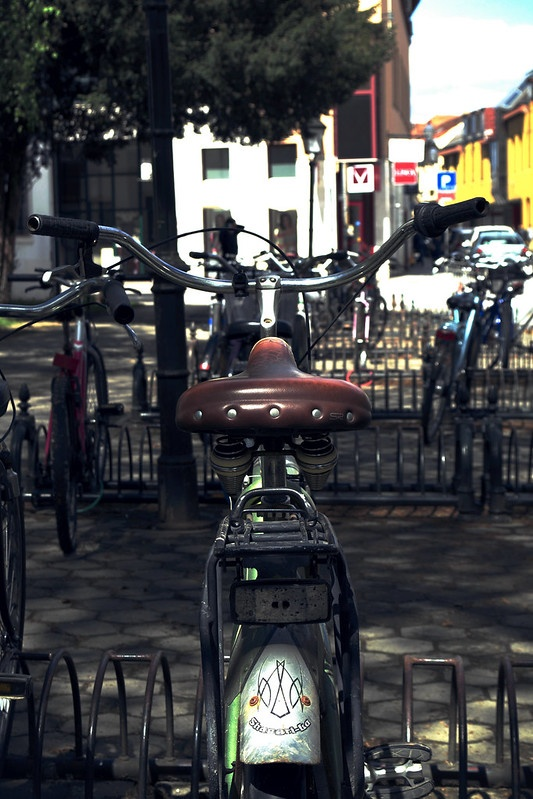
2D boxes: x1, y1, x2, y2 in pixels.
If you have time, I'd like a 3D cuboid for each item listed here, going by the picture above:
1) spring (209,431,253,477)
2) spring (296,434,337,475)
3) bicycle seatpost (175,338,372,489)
[{"bbox_3d":[-0.101,0.169,5.128,0.112,0.139,0.117,-5,9,-16],"label":"spring"},{"bbox_3d":[0.162,0.167,5.102,0.110,0.124,0.110,4,18,18],"label":"spring"},{"bbox_3d":[0.030,-0.033,5.044,0.605,0.326,0.616,4,-5,-40],"label":"bicycle seatpost"}]
